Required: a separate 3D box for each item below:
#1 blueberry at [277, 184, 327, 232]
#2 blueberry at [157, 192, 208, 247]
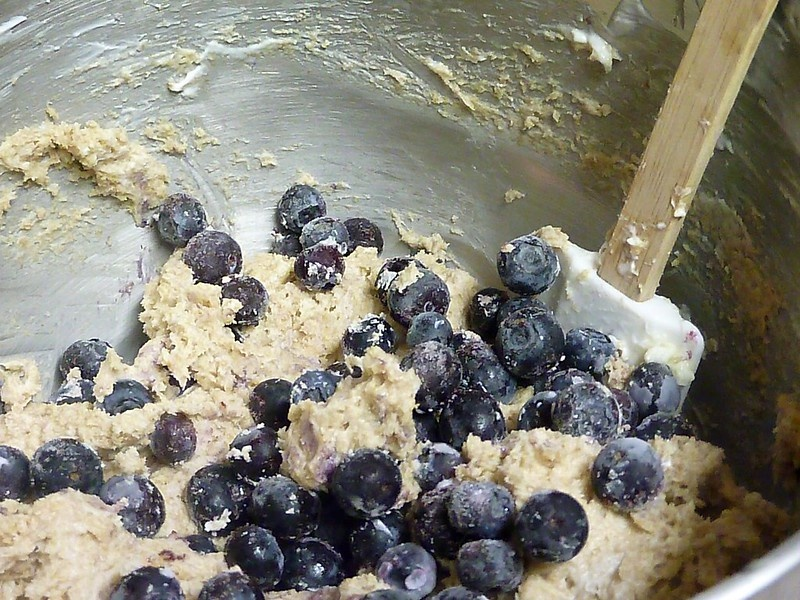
[{"bbox_3d":[-0.451,-0.428,4.332,0.187,0.228,0.221,-18,49,-3],"label":"blueberry"},{"bbox_3d":[-0.971,-0.359,4.117,0.186,0.130,0.250,13,87,-10],"label":"blueberry"}]
